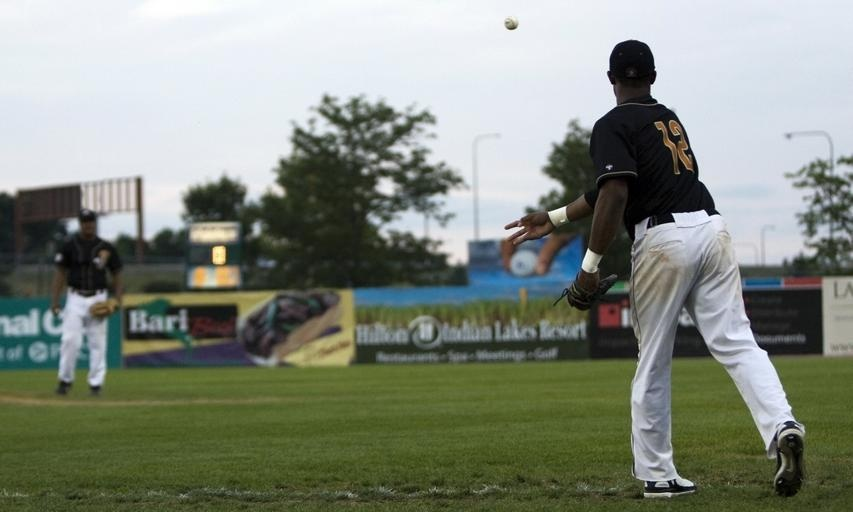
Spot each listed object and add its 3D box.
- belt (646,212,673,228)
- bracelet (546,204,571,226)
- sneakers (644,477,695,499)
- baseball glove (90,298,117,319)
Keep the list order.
[{"bbox_3d":[2.368,-0.375,16.291,0.191,0.066,0.167,-4,-16,3],"label":"belt"},{"bbox_3d":[1.392,-0.437,16.885,0.204,0.170,0.234,-8,-9,1],"label":"bracelet"},{"bbox_3d":[2.466,2.358,16.492,0.551,0.232,0.196,-4,0,-6],"label":"sneakers"},{"bbox_3d":[-3.844,0.618,19.030,0.314,0.222,0.123,-1,-4,-18],"label":"baseball glove"}]
